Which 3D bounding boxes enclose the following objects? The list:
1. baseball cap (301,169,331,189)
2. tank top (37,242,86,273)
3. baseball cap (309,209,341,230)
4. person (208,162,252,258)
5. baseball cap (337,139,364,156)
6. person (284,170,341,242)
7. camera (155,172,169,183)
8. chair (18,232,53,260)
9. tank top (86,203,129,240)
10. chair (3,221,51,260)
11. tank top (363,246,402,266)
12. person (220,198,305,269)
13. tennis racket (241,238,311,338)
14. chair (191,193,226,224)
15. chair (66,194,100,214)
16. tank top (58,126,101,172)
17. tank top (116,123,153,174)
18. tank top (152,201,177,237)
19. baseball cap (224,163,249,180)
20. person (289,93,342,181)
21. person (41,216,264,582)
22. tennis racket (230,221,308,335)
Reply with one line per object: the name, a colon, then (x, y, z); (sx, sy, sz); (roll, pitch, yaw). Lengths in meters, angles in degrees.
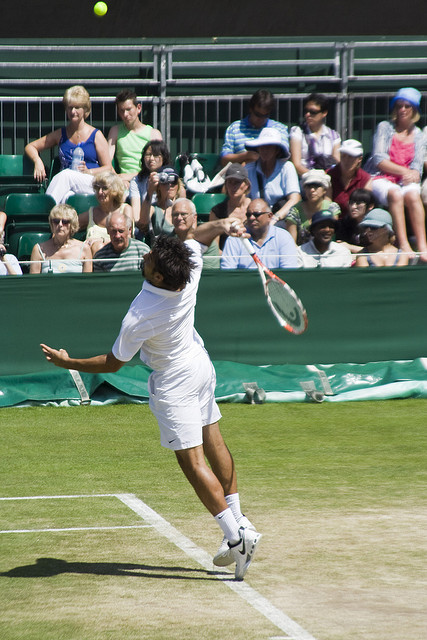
baseball cap: (0.999, -1.392, 9.036); (0.266, 0.181, 0.343); (0, 4, 5)
tank top: (-1.398, -0.559, 8.388); (0.328, 0.296, 0.025); (1, -15, -13)
baseball cap: (1.025, -0.938, 8.575); (0.281, 0.182, 0.269); (0, 4, 6)
person: (0.192, -1.004, 8.455); (0.541, 0.810, 0.468); (2, 10, -4)
baseball cap: (1.352, -1.713, 9.121); (0.190, 0.170, 0.247); (1, 5, 17)
person: (0.975, -1.086, 9.025); (0.588, 0.739, 0.492); (-2, 9, 7)
camera: (-0.469, -1.294, 8.340); (0.138, 0.093, 0.056); (2, 6, 35)
chair: (-1.761, -0.733, 9.069); (0.292, 0.232, 0.281); (1, 9, -1)
tank top: (-0.967, -0.904, 8.481); (0.396, 0.470, 0.269); (4, -10, -1)
chair: (-1.901, -0.858, 9.341); (0.555, 0.486, 0.476); (0, -1, -8)
tank top: (1.605, -0.612, 8.796); (0.366, 0.187, 0.194); (0, 5, 9)
person: (0.412, -0.731, 8.004); (0.878, 0.656, 0.446); (-2, 24, 5)
tennis racket: (0.343, -0.132, 5.630); (0.074, 0.236, 0.883); (-19, 50, -18)
chair: (-0.096, -1.134, 9.595); (0.385, 0.447, 0.365); (0, -1, -7)
chair: (-1.284, -1.140, 9.072); (0.262, 0.262, 0.333); (4, -14, -2)
tank top: (-1.478, -1.802, 9.942); (0.502, 0.591, 0.336); (-1, -3, -5)
tank top: (-0.868, -1.880, 10.039); (0.427, 0.552, 0.231); (0, 5, 7)
tank top: (-0.461, -0.944, 8.420); (0.159, 0.322, 0.660); (-2, 4, -11)
baseball cap: (0.201, -1.358, 8.371); (0.192, 0.159, 0.300); (-1, 4, -1)
person: (1.082, -1.907, 9.739); (0.711, 0.923, 0.593); (-7, 9, -38)
person: (-0.459, 0.472, 5.749); (1.463, 2.082, 1.120); (-23, 21, -34)
tennis racket: (0.333, -0.263, 5.635); (0.224, 0.793, 0.048); (-9, -34, -29)
